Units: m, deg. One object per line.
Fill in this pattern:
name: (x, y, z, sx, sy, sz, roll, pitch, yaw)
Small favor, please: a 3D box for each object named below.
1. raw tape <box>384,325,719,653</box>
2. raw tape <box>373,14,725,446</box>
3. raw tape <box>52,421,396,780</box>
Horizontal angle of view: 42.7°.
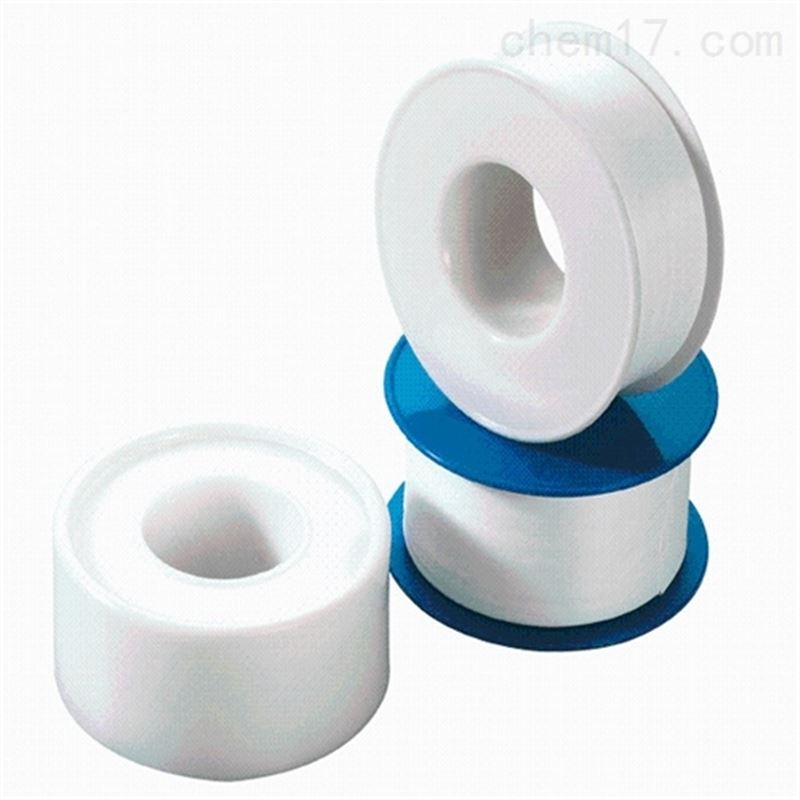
raw tape: (0.380, 0.160, 2.553, 0.758, 0.476, 0.784, 1, 33, 9)
raw tape: (0.291, -0.353, 2.189, 0.576, 0.865, 0.694, 6, -11, -37)
raw tape: (-0.386, 0.418, 2.223, 0.651, 0.430, 0.678, -8, 34, -26)
